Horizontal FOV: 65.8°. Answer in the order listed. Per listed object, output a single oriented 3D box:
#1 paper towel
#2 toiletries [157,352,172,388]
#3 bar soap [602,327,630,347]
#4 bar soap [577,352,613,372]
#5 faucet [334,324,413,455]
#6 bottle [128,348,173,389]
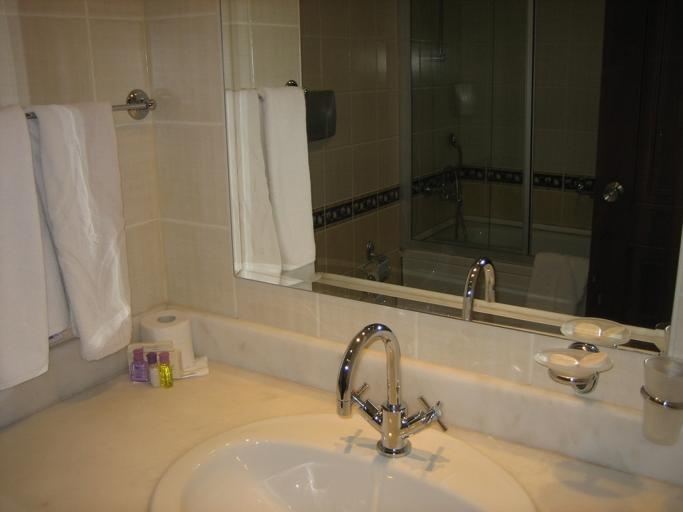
[{"bbox_3d":[-0.525,0.280,1.684,0.162,0.192,0.179,-19,29,-26],"label":"paper towel"},{"bbox_3d":[-0.519,0.335,1.563,0.040,0.097,0.050,-7,18,-20],"label":"toiletries"},{"bbox_3d":[0.604,0.177,1.159,0.044,0.039,0.011,0,7,24],"label":"bar soap"},{"bbox_3d":[0.547,0.220,1.140,0.059,0.019,0.093,7,19,24],"label":"bar soap"},{"bbox_3d":[0.087,0.307,1.179,0.087,0.319,0.235,13,21,37],"label":"faucet"},{"bbox_3d":[-0.561,0.330,1.571,0.105,0.109,0.036,-2,-3,19],"label":"bottle"}]
